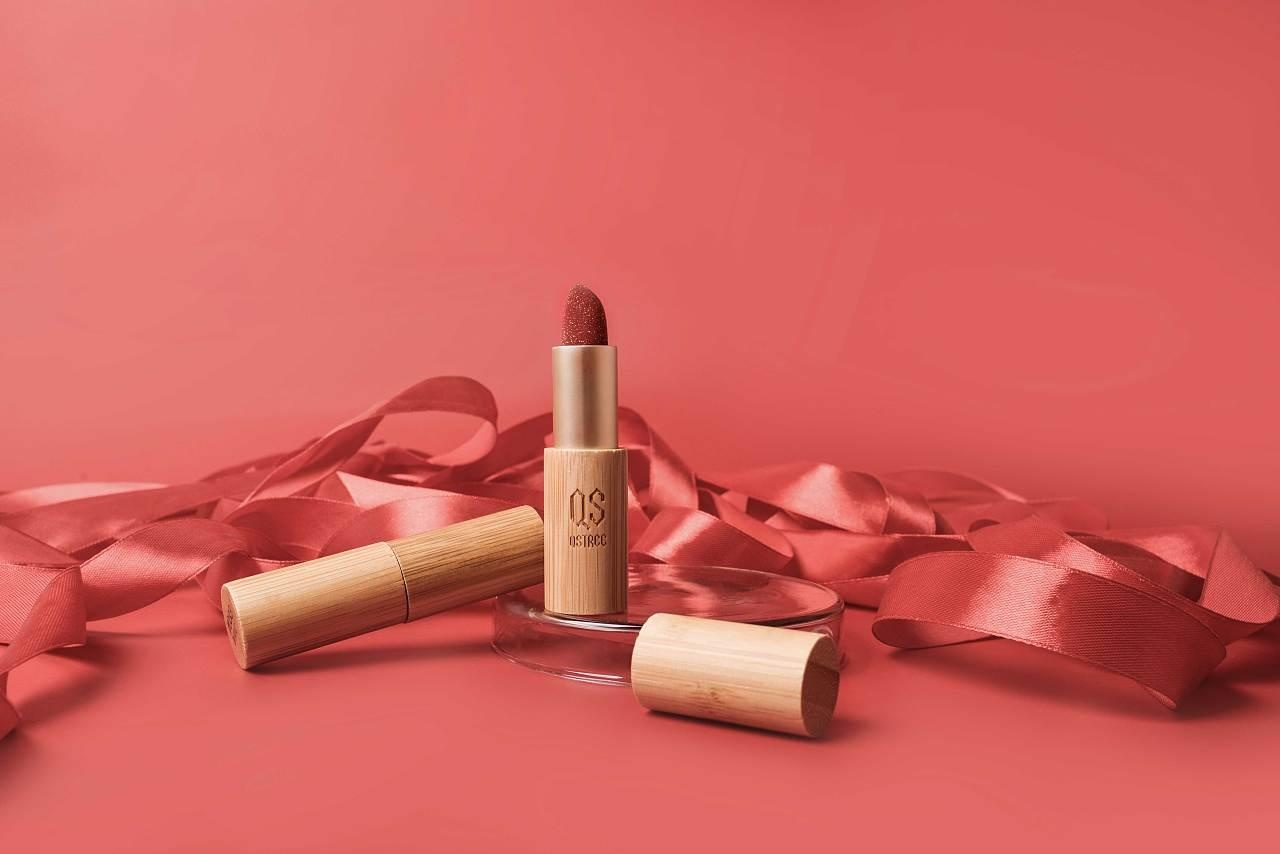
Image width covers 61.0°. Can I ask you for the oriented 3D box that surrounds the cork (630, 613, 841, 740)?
[{"bbox_3d":[0.074,0.168,0.731,0.131,0.059,0.082,-1,9,36],"label":"cork"}]
